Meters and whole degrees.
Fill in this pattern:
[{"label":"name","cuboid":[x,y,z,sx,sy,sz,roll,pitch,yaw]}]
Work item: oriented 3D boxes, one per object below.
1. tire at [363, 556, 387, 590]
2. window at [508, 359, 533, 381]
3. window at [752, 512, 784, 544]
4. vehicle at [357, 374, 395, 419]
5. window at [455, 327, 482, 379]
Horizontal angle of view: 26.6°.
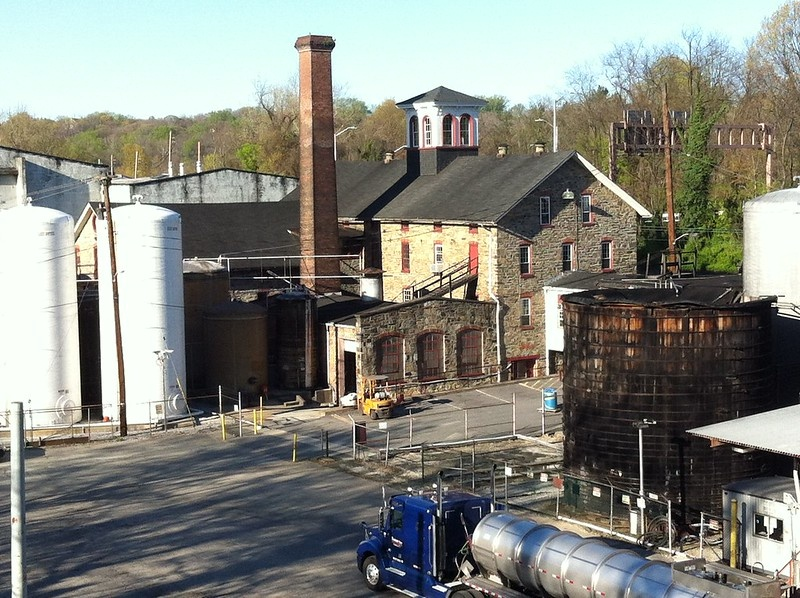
[{"label":"tire","cuboid":[-0.884,9.874,60.272,0.367,1.063,1.064,4,11,-37]},{"label":"window","cuboid":[5.976,3.503,86.105,1.399,1.345,0.966,0,0,-34]},{"label":"window","cuboid":[13.298,8.157,60.492,0.819,1.003,1.452,1,0,-41]},{"label":"vehicle","cuboid":[-1.259,4.552,78.492,1.152,1.770,2.616,-7,9,-26]},{"label":"window","cuboid":[3.450,2.702,83.488,1.575,2.149,0.317,-2,1,-45]}]
